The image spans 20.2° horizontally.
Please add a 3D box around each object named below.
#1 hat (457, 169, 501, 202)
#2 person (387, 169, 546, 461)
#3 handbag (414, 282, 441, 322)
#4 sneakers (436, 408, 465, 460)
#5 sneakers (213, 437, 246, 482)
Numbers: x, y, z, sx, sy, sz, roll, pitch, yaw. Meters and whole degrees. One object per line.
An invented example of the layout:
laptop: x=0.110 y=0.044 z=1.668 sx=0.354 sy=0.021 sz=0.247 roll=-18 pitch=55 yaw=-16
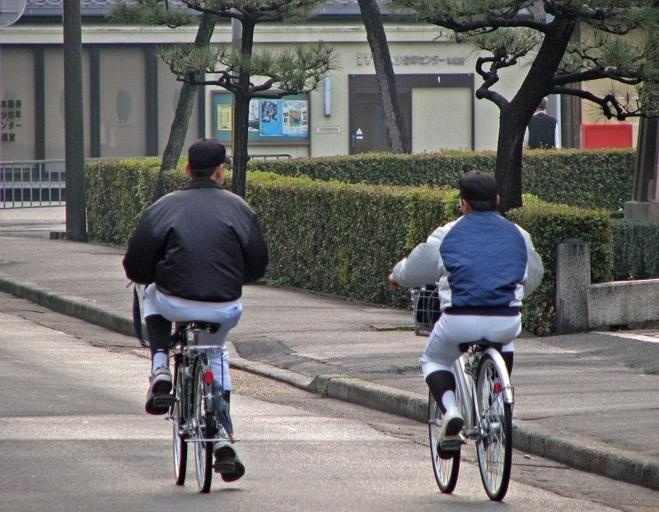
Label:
hat: x=1.478 y=-0.742 z=18.543 sx=0.262 sy=0.231 sz=0.357 roll=-4 pitch=24 yaw=-9
person: x=1.396 y=0.547 z=18.671 sx=1.227 sy=2.788 sz=0.977 roll=-9 pitch=15 yaw=-31
handbag: x=0.980 y=0.479 z=18.752 sx=0.263 sy=0.360 sz=0.491 roll=0 pitch=4 yaw=0
sneakers: x=1.185 y=1.722 z=18.337 sx=0.188 sy=0.553 sz=0.264 roll=9 pitch=37 yaw=3
sneakers: x=-1.009 y=1.996 z=18.287 sx=0.200 sy=0.491 sz=0.275 roll=9 pitch=16 yaw=38
